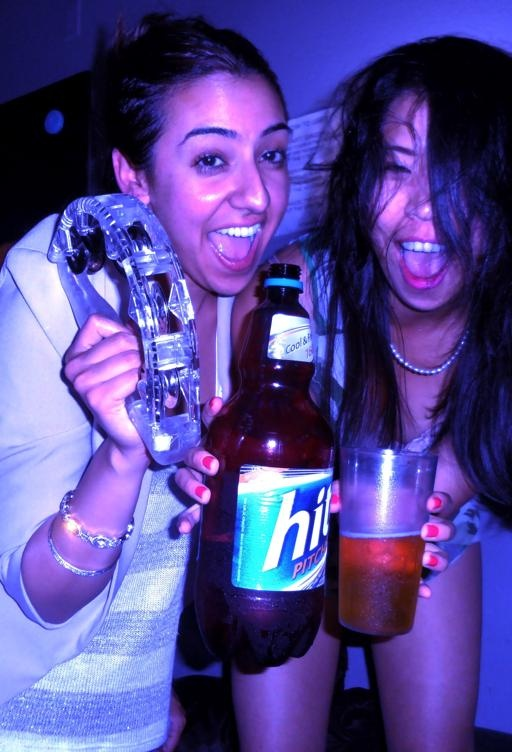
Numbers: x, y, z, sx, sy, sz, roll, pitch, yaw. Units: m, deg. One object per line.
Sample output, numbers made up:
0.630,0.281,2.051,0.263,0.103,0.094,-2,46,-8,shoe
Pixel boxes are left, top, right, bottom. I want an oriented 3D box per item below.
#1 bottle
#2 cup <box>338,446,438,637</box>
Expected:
0.005,0.121,0.609,0.144,0.464,0.184,1,9,7,bottle
0.141,0.177,0.645,0.104,0.198,0.077,1,9,10,cup
